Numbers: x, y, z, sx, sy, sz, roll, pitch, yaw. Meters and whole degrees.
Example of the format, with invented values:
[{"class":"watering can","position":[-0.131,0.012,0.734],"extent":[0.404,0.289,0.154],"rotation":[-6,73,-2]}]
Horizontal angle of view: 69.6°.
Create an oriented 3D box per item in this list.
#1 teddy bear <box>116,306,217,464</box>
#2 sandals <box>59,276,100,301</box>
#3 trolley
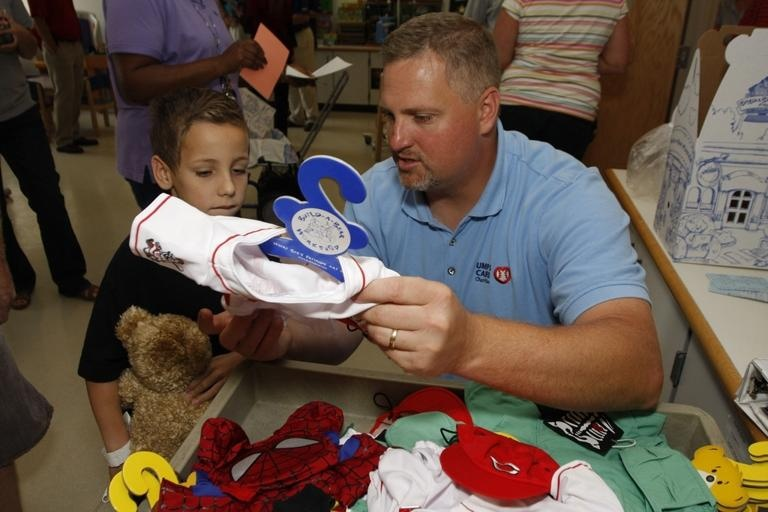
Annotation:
[{"class":"teddy bear","position":[-0.703,0.397,1.756],"extent":[0.295,0.457,0.201],"rotation":[-6,26,-16]},{"class":"sandals","position":[-1.873,0.198,3.368],"extent":[0.192,0.141,0.069],"rotation":[-7,32,-20]},{"class":"trolley","position":[-0.706,-0.791,3.963],"extent":[0.751,1.166,0.642],"rotation":[6,-9,-18]}]
